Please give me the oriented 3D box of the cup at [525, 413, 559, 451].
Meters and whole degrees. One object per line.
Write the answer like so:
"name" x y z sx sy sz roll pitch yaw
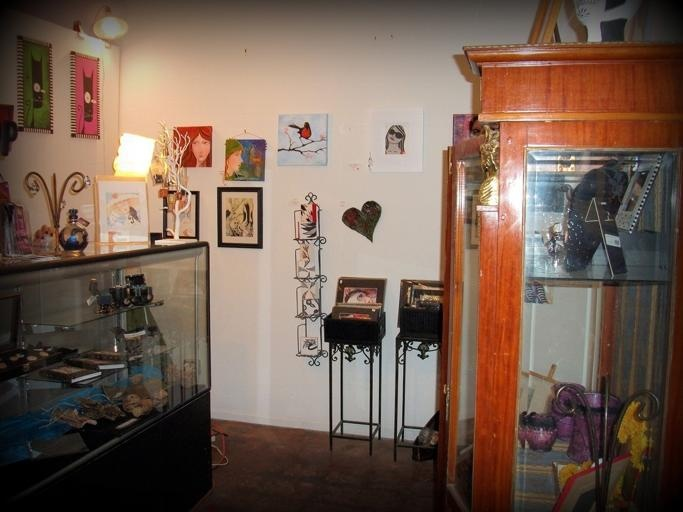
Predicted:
"cup" 0.885 0.754 2.520 0.149 0.195 0.154 -3 -2 0

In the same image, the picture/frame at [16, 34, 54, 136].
"picture/frame" -2.157 -1.187 3.948 0.021 0.631 0.257 3 4 28

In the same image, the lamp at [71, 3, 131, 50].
"lamp" -1.850 -1.761 4.359 0.286 0.318 0.537 -5 6 -45

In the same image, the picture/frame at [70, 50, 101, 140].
"picture/frame" -1.969 -1.213 4.300 0.044 0.627 0.274 2 4 20

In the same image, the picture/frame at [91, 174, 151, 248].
"picture/frame" -1.295 -0.266 3.318 0.296 0.401 0.192 -1 4 -27
